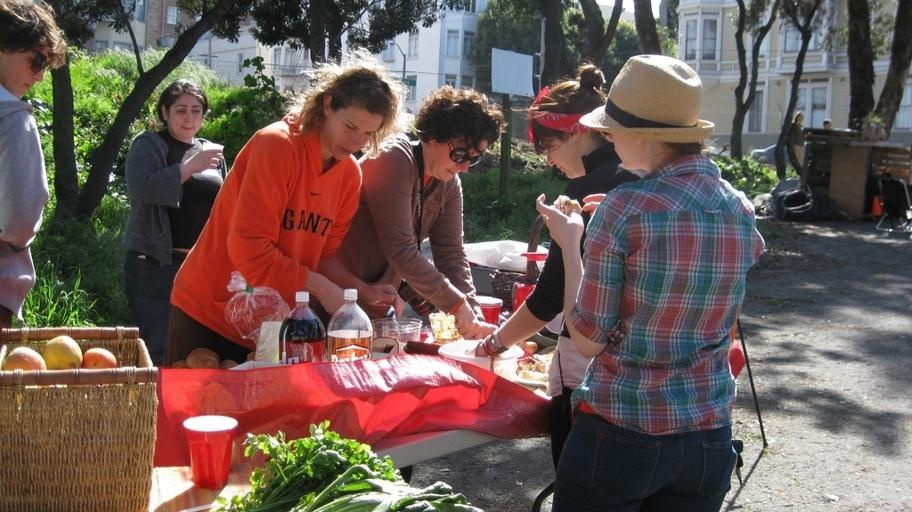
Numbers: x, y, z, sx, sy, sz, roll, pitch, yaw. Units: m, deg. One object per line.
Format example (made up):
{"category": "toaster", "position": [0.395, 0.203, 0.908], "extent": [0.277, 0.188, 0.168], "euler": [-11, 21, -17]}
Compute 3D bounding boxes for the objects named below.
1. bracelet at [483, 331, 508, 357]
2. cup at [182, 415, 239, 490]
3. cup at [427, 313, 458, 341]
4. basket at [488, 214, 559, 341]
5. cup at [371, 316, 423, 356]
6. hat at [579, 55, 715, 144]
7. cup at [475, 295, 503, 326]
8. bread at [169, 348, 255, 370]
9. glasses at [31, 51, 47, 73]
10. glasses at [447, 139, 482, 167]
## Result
{"category": "bracelet", "position": [0.252, 0.621, 5.721], "extent": [0.135, 0.158, 0.172], "euler": [-44, 12, -7]}
{"category": "cup", "position": [-1.469, 1.195, 5.089], "extent": [0.373, 0.401, 0.388], "euler": [3, 10, 0]}
{"category": "cup", "position": [-0.104, 0.569, 6.448], "extent": [0.195, 0.164, 0.217], "euler": [-1, -5, -2]}
{"category": "basket", "position": [0.592, 0.098, 6.637], "extent": [0.710, 0.927, 0.684], "euler": [11, 23, 2]}
{"category": "cup", "position": [-0.446, 0.605, 6.003], "extent": [0.295, 0.226, 0.233], "euler": [2, -3, -29]}
{"category": "hat", "position": [1.214, -0.906, 4.965], "extent": [0.595, 0.345, 0.560], "euler": [13, 18, 24]}
{"category": "cup", "position": [0.250, 0.436, 6.487], "extent": [0.204, 0.162, 0.190], "euler": [1, 9, 0]}
{"category": "bread", "position": [-1.695, 0.727, 5.558], "extent": [0.290, 0.092, 0.287], "euler": [6, -1, -36]}
{"category": "glasses", "position": [-2.850, -1.333, 5.558], "extent": [0.046, 0.118, 0.113], "euler": [-27, -26, 20]}
{"category": "glasses", "position": [0.065, -0.805, 6.129], "extent": [0.076, 0.211, 0.203], "euler": [-34, -22, 26]}
